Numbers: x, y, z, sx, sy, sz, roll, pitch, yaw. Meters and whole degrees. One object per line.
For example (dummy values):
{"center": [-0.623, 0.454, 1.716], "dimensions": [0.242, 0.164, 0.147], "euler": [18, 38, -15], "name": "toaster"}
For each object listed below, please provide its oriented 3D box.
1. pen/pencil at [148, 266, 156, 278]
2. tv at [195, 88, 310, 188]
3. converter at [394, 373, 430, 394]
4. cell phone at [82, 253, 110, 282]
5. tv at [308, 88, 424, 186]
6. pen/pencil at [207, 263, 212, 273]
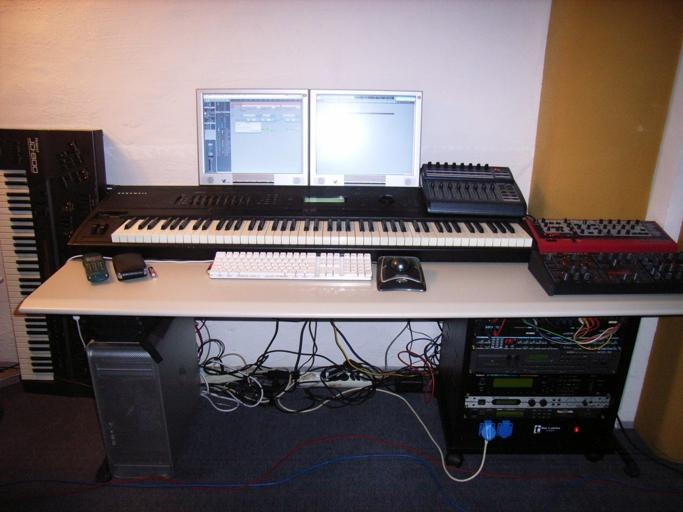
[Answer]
{"center": [-0.766, 0.066, 2.285], "dimensions": [0.022, 0.013, 0.065], "euler": [-8, 33, -32], "name": "pen/pencil"}
{"center": [-0.410, -0.557, 2.610], "dimensions": [0.481, 0.384, 0.034], "euler": [1, 16, -2], "name": "tv"}
{"center": [0.374, 0.674, 2.988], "dimensions": [0.117, 0.029, 0.126], "euler": [0, 16, 2], "name": "converter"}
{"center": [-0.978, 0.032, 2.262], "dimensions": [0.076, 0.044, 0.147], "euler": [-11, 47, -28], "name": "cell phone"}
{"center": [0.101, -0.557, 2.611], "dimensions": [0.473, 0.387, 0.049], "euler": [1, 16, -2], "name": "tv"}
{"center": [-0.535, 0.051, 2.297], "dimensions": [0.025, 0.034, 0.008], "euler": [-1, -24, 40], "name": "pen/pencil"}
